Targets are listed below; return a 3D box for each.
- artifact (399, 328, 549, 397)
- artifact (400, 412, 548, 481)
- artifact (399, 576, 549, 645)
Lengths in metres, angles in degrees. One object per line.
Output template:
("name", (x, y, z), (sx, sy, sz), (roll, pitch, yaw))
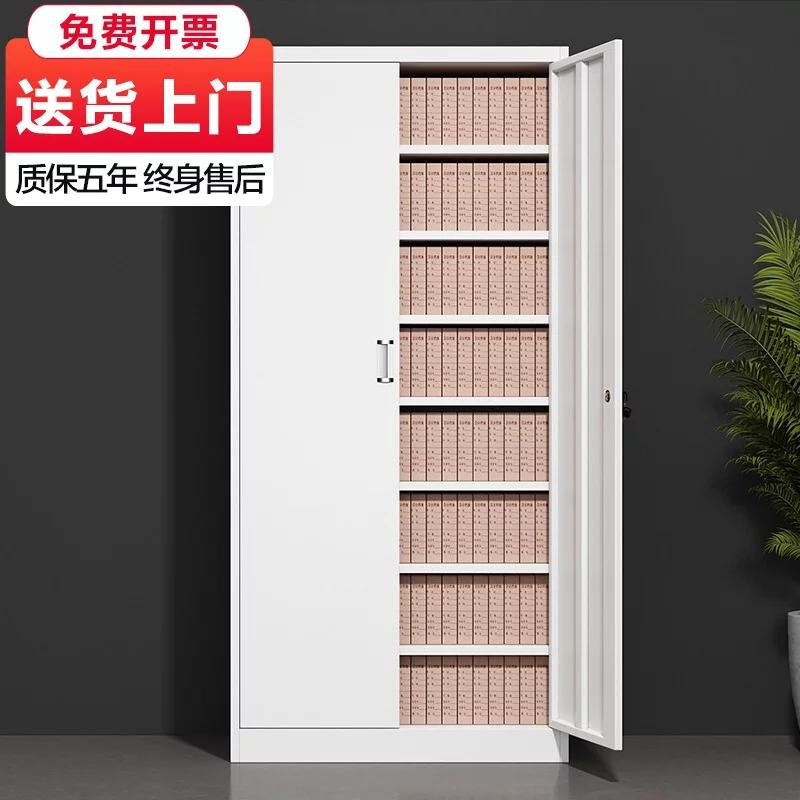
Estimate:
("artifact", (0.258, -0.128, 3.248), (0.419, 0.273, 0.226), (0, -1, 1))
("artifact", (0.265, 0.166, 3.468), (0.417, 0.272, 0.225), (-1, -1, 1))
("artifact", (0.283, 0.761, 3.475), (0.419, 0.275, 0.230), (-1, -4, 2))
